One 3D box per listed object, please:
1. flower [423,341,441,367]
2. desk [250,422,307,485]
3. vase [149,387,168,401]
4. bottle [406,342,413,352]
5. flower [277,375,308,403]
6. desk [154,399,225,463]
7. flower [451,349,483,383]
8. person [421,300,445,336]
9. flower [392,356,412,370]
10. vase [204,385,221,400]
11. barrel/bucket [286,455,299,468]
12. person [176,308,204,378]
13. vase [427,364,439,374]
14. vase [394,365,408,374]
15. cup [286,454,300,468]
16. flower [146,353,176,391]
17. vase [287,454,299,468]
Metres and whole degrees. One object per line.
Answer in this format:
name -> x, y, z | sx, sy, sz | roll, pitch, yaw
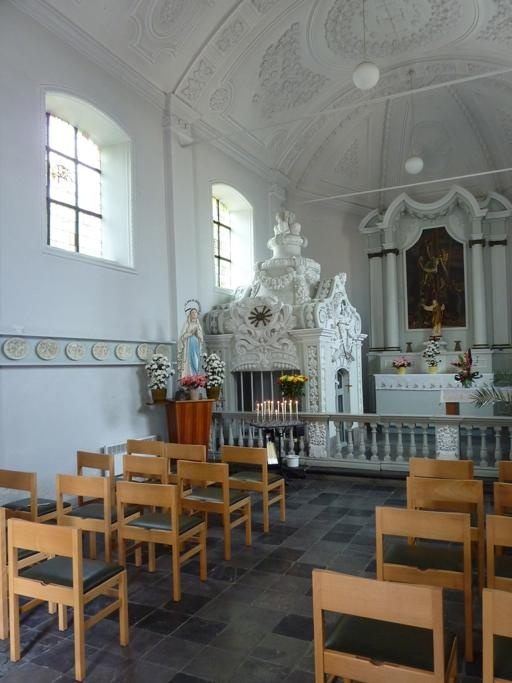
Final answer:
flower -> 3.775, 0.228, 11.641 | 0.371, 0.589, 0.910 | -2, -2, 17
desk -> 0.307, 1.423, 7.150 | 0.780, 0.723, 0.759 | -1, -8, -5
vase -> -1.375, 0.724, 7.655 | 0.186, 0.151, 0.198 | -4, -9, 26
bottle -> 3.520, 0.092, 12.483 | 0.192, 0.219, 0.188 | -1, -2, 10
flower -> 0.519, 0.621, 7.527 | 0.392, 0.400, 0.414 | 1, -2, 5
desk -> -0.826, 1.215, 7.850 | 0.748, 0.753, 0.707 | 3, -9, -20
flower -> 3.940, 0.440, 10.049 | 0.515, 0.620, 0.608 | -2, -3, 6
person -> 4.043, -0.577, 12.359 | 0.205, 0.787, 0.445 | 0, -2, -40
flower -> 3.072, 0.439, 11.383 | 0.343, 0.300, 0.334 | 0, -4, -7
vase -> -0.662, 0.756, 8.189 | 0.205, 0.145, 0.190 | -2, -4, 16
barrel/bucket -> 0.462, 1.511, 6.949 | 0.144, 0.103, 0.142 | -3, -5, 0
person -> -0.995, 0.022, 7.974 | 0.344, 1.010, 0.543 | -2, -2, 1
vase -> 3.699, 0.542, 11.313 | 0.218, 0.165, 0.212 | -3, -2, -4
vase -> 3.034, 0.571, 11.385 | 0.201, 0.210, 0.208 | -1, 6, 19
cup -> 0.478, 1.508, 6.958 | 0.157, 0.113, 0.156 | -2, -4, 0
flower -> -1.355, 0.411, 7.595 | 0.358, 0.484, 0.296 | -1, -2, -23
vase -> 0.469, 1.510, 6.950 | 0.149, 0.105, 0.147 | -3, -5, 0
